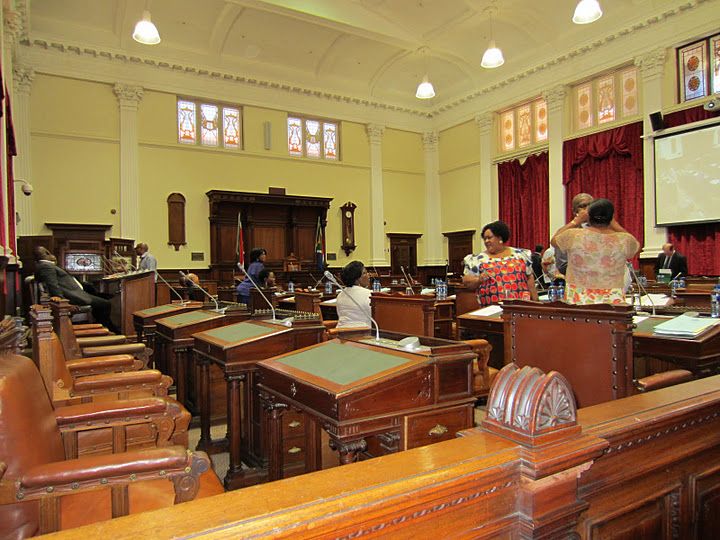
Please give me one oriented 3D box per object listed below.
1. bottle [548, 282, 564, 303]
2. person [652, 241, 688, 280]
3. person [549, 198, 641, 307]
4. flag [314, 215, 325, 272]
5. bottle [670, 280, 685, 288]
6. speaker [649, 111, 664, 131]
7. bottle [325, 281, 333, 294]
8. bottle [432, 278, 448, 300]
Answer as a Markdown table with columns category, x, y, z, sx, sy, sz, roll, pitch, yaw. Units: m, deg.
| category | x | y | z | sx | sy | sz | roll | pitch | yaw |
| --- | --- | --- | --- | --- | --- | --- | --- | --- | --- |
| bottle | 1.640 | 0.179 | 4.225 | 0.183 | 0.175 | 0.105 | -3 | 6 | -25 |
| person | 4.870 | -0.180 | 7.916 | 0.381 | 0.471 | 1.130 | -1 | 3 | 26 |
| person | 1.552 | 0.018 | 3.407 | 0.435 | 1.101 | 0.345 | 6 | 42 | 25 |
| flag | -1.044 | -0.686 | 13.058 | 0.279 | 1.439 | 0.424 | -3 | 3 | -4 |
| bottle | 3.412 | 0.142 | 5.441 | 0.255 | 0.102 | 0.072 | -1 | 1 | -37 |
| speaker | 5.750 | -2.882 | 9.832 | 0.216 | 0.384 | 0.250 | -6 | 5 | -45 |
| bottle | -0.440 | 0.271 | 7.757 | 0.144 | 0.224 | 0.145 | 0 | -2 | 0 |
| bottle | 1.181 | 0.256 | 7.477 | 0.256 | 0.404 | 0.245 | -1 | -1 | 0 |
